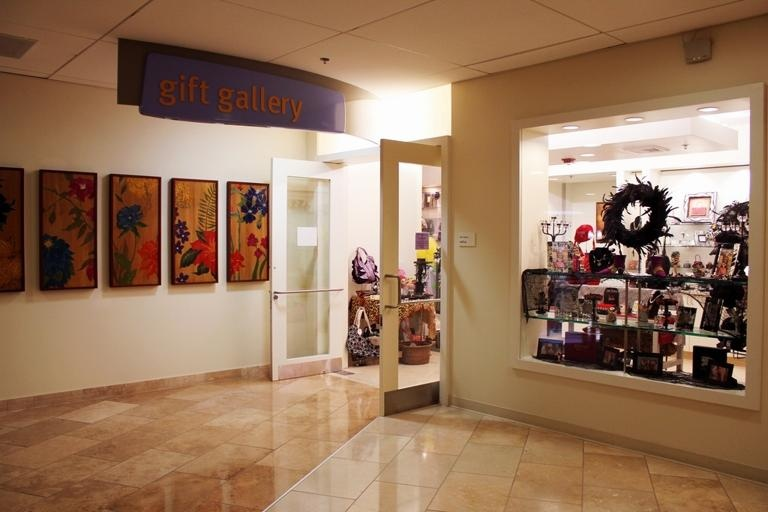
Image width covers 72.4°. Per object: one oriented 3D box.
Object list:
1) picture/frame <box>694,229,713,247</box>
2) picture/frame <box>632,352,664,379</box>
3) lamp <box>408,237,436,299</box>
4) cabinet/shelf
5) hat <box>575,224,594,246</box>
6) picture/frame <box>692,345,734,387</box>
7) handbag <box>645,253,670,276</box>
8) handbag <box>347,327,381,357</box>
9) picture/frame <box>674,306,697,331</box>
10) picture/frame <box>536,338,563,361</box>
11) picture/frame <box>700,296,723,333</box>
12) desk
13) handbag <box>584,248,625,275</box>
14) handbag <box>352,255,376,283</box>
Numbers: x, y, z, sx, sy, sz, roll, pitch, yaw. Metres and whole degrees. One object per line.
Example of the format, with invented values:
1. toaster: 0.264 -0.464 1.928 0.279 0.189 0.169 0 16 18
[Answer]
1. picture/frame: 4.888 -0.278 8.059 0.141 0.236 0.255 3 -7 -24
2. picture/frame: 2.654 1.111 5.285 0.258 0.259 0.092 0 -4 29
3. lamp: 0.487 0.103 6.435 0.344 0.775 0.104 -7 11 -34
4. cabinet/shelf: 2.527 0.673 5.507 1.985 0.996 0.582 3 11 35
5. hat: 2.211 -0.232 5.912 0.264 0.265 0.198 6 6 16
6. picture/frame: 3.144 1.071 5.030 0.203 0.374 0.370 8 -8 -40
7. handbag: 2.731 0.081 5.326 0.208 0.196 0.205 -4 4 -28
8. handbag: -0.348 1.321 8.017 0.533 0.538 0.370 3 -13 -11
9. picture/frame: 2.917 0.610 5.094 0.237 0.331 0.035 2 -10 38
10. picture/frame: 1.845 1.050 5.850 0.242 0.224 0.088 1 -3 30
11. picture/frame: 3.111 0.555 5.010 0.113 0.317 0.153 -10 13 -43
12. desk: 0.170 0.820 6.916 1.002 0.511 0.978 2 -1 -42
13. handbag: 2.301 0.073 5.559 0.321 0.297 0.260 9 -5 0
14. handbag: -0.331 0.202 8.079 0.434 0.429 0.244 1 1 -34
